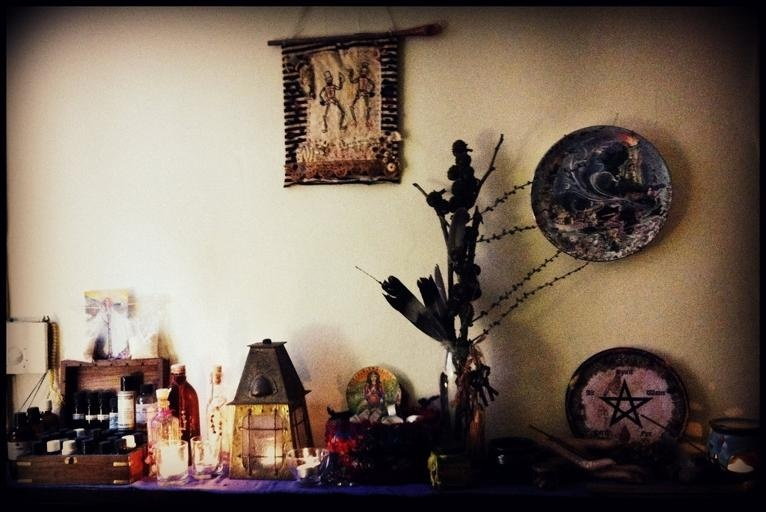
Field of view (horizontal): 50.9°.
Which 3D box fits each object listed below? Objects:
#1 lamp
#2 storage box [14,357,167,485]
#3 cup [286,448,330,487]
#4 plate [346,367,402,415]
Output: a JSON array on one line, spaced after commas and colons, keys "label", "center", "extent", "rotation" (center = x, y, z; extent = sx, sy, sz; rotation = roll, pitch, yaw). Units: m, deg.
[{"label": "lamp", "center": [-0.489, 0.658, 3.473], "extent": [0.352, 0.592, 0.164], "rotation": [0, -5, -7]}, {"label": "storage box", "center": [-1.261, 0.722, 3.694], "extent": [0.608, 0.533, 0.543], "rotation": [-1, -7, 6]}, {"label": "cup", "center": [-0.322, 0.876, 3.343], "extent": [0.162, 0.106, 0.158], "rotation": [-1, -10, 0]}, {"label": "plate", "center": [-0.050, 0.605, 3.630], "extent": [0.230, 0.207, 0.044], "rotation": [-1, -3, 10]}]
